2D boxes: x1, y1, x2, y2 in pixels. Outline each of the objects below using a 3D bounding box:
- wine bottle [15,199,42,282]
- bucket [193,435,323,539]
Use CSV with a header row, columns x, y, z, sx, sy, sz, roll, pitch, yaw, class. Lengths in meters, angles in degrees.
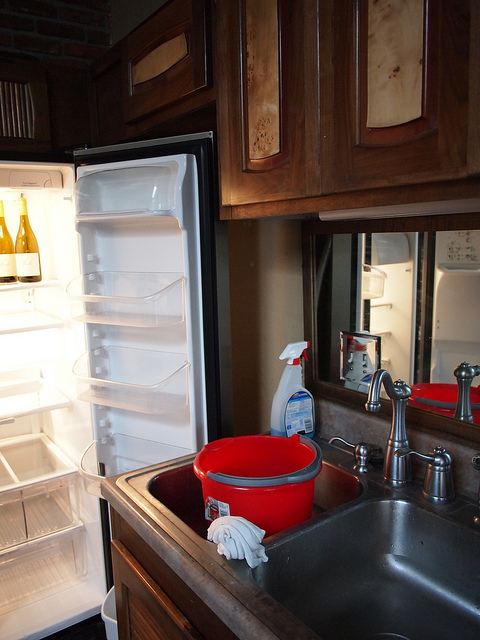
x,y,z,sx,sy,sz,roll,pitch,yaw,class
-0.902,-0.321,2.168,0.116,0.393,0.104,-7,19,-38,wine bottle
0.042,0.373,1.080,0.256,0.188,0.274,-3,9,0,bucket
